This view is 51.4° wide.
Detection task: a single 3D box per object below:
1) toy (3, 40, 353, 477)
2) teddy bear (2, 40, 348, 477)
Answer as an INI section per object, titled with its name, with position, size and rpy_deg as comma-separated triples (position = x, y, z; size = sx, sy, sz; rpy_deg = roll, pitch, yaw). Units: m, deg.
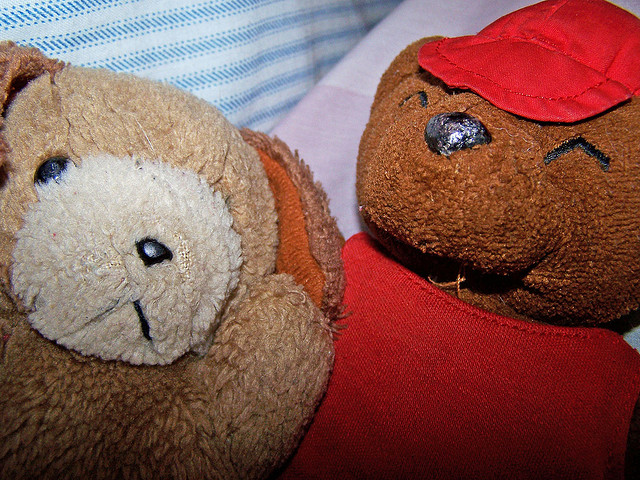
[toy]
position = -0.193, 0.045, 0.833
size = 0.451, 0.546, 0.208
rpy_deg = 2, -2, -9
[teddy bear]
position = -0.183, 0.038, 0.781
size = 0.406, 0.418, 0.348
rpy_deg = 3, 30, -1
